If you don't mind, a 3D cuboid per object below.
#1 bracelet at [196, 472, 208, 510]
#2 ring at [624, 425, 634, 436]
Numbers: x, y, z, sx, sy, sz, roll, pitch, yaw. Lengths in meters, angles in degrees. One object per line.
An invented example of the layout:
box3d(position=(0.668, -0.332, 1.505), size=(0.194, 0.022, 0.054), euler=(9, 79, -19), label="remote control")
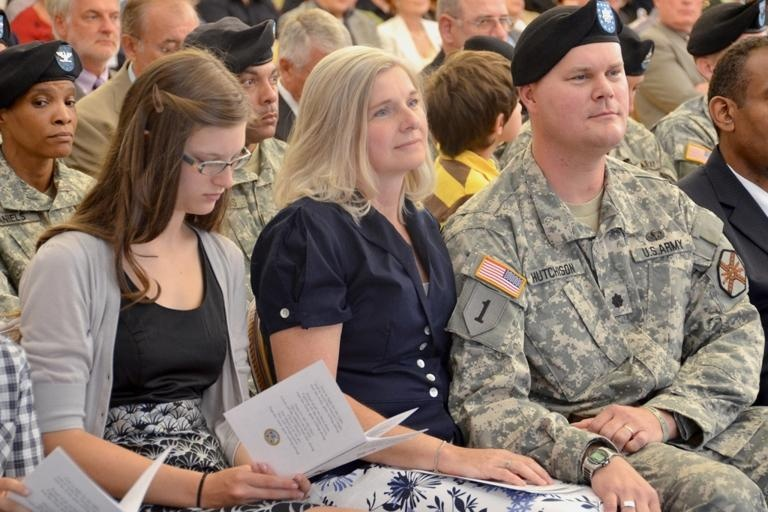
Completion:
box3d(position=(-0.734, 0.947, 3.159), size=(0.032, 0.130, 0.042), euler=(0, -4, 29), label="bracelet")
box3d(position=(1.064, 0.750, 3.387), size=(0.042, 0.016, 0.034), euler=(41, 13, 13), label="ring")
